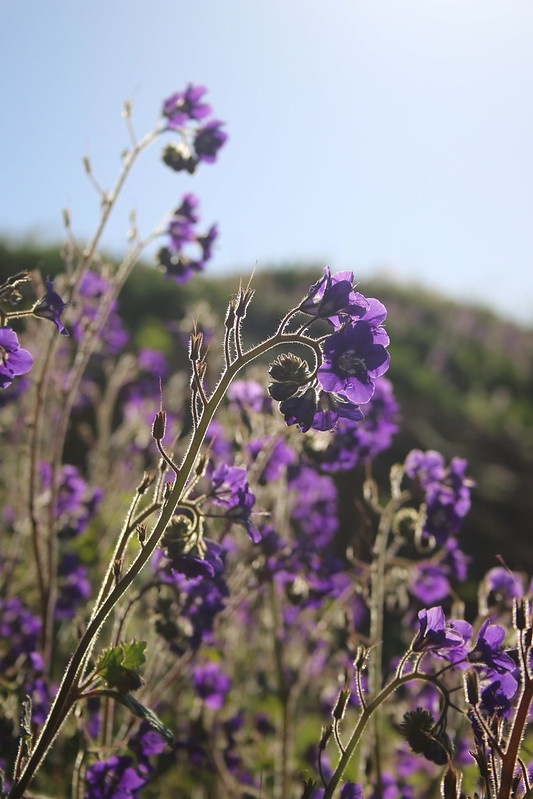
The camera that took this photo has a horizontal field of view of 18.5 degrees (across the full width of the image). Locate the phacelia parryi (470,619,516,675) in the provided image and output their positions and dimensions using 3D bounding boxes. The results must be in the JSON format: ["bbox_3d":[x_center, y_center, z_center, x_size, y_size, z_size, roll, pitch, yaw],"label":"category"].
[{"bbox_3d":[0.588,0.648,4.195,0.064,0.126,0.125,-17,33,30],"label":"phacelia parryi"}]
